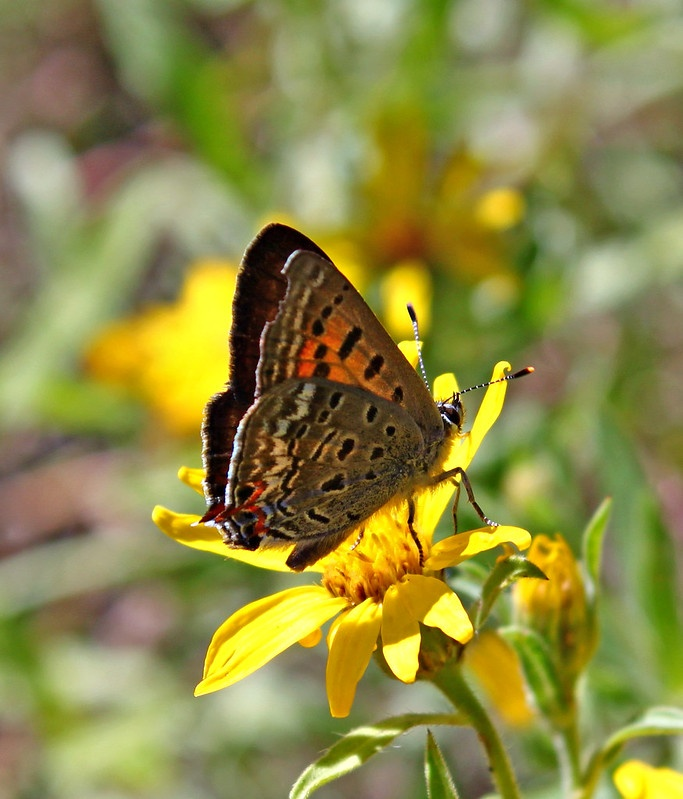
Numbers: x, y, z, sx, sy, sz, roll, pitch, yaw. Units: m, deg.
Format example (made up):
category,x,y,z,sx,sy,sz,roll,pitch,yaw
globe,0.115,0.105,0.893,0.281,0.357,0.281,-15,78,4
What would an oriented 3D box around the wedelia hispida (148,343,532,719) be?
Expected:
category,x,y,z,sx,sy,sz,roll,pitch,yaw
wedelia hispida,-0.002,0.254,1.260,0.255,0.480,0.495,36,98,-14
